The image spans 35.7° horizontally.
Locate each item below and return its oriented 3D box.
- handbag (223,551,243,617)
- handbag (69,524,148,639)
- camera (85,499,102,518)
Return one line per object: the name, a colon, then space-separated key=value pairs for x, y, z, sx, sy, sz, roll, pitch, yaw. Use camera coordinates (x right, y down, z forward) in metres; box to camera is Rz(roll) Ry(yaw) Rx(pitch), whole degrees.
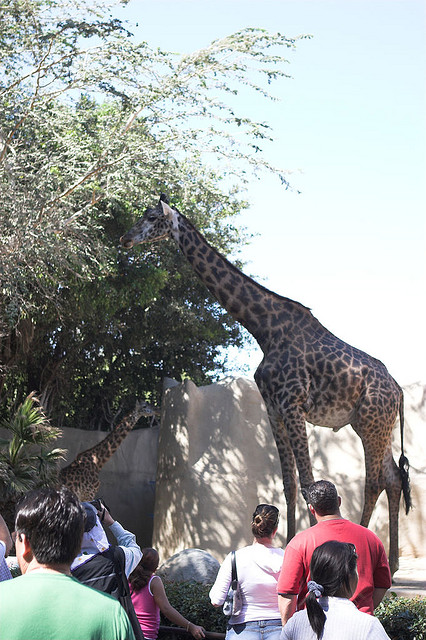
handbag: x=0.100 y=1.347 z=3.350 sx=0.070 sy=0.218 sz=0.114 roll=10 pitch=-5 yaw=-31
handbag: x=-0.420 y=1.172 z=2.794 sx=0.298 sy=0.341 sz=0.252 roll=5 pitch=-4 yaw=31
camera: x=-0.561 y=0.902 z=3.163 sx=0.051 sy=0.060 sz=0.029 roll=-7 pitch=-7 yaw=23
